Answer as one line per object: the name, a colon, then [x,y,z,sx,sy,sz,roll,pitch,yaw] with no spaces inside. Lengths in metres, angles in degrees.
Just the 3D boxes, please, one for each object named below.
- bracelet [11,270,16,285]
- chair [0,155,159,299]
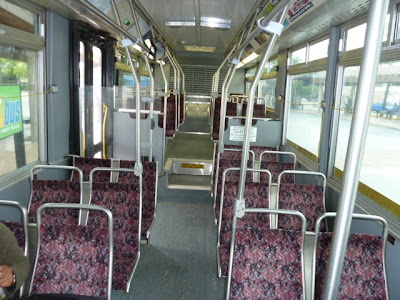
bracelet: [-1.232,0.853,1.838,0.023,0.070,0.025,0,12,-21]
chair: [-0.956,0.789,2.724,0.781,1.035,1.501,3,9,-3]
